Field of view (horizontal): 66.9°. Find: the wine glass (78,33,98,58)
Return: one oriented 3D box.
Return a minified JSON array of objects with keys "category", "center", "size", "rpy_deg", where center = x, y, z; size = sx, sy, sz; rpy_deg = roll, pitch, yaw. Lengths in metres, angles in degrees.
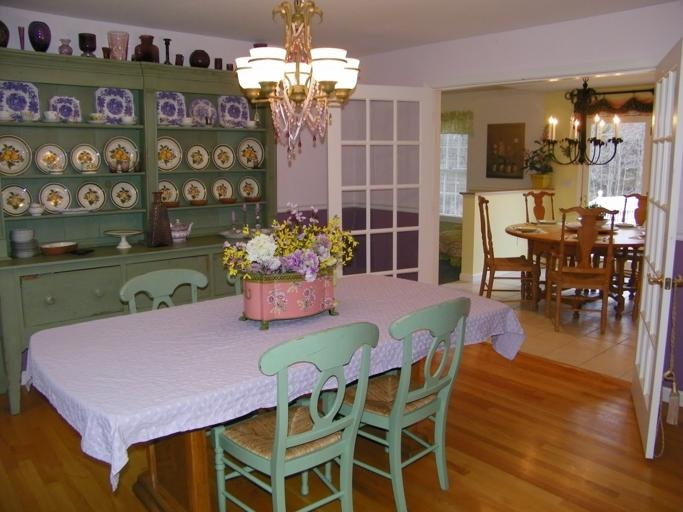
[{"category":"wine glass","center":[-2.015,-1.667,4.103],"size":[0.131,0.224,0.360],"rpy_deg":[-6,10,-25]}]

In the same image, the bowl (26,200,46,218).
[{"category":"bowl","center":[-2.379,-0.377,4.036],"size":[0.106,0.106,0.116],"rpy_deg":[-1,2,0]}]

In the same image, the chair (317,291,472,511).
[{"category":"chair","center":[0.264,0.782,2.714],"size":[0.754,1.305,0.708],"rpy_deg":[-12,20,-42]}]

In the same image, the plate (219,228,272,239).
[{"category":"plate","center":[-0.771,-0.177,4.087],"size":[0.282,0.042,0.203],"rpy_deg":[-3,9,-15]}]

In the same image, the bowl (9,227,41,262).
[{"category":"bowl","center":[-2.352,-0.100,3.866],"size":[0.203,0.234,0.206],"rpy_deg":[1,2,0]}]

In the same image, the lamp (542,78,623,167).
[{"category":"lamp","center":[2.797,-1.626,5.988],"size":[0.801,1.141,0.824],"rpy_deg":[-1,3,-39]}]

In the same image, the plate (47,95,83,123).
[{"category":"plate","center":[-2.224,-1.183,4.132],"size":[0.026,0.208,0.265],"rpy_deg":[-5,2,39]}]

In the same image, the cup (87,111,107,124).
[{"category":"cup","center":[-1.971,-1.129,4.220],"size":[0.098,0.094,0.166],"rpy_deg":[4,11,31]}]

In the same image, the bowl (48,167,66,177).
[{"category":"bowl","center":[-2.243,-0.676,4.075],"size":[0.111,0.039,0.110],"rpy_deg":[9,11,-2]}]

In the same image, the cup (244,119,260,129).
[{"category":"cup","center":[-0.848,-1.239,4.915],"size":[0.121,0.081,0.113],"rpy_deg":[1,6,0]}]

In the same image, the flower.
[{"category":"flower","center":[-0.379,-0.044,2.865],"size":[0.641,0.402,0.607],"rpy_deg":[-7,9,-42]}]

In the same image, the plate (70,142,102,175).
[{"category":"plate","center":[-2.111,-0.768,4.261],"size":[0.246,0.260,0.064],"rpy_deg":[-3,-10,-44]}]

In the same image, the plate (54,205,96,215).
[{"category":"plate","center":[-2.168,-0.364,4.208],"size":[0.308,0.061,0.177],"rpy_deg":[-6,10,-27]}]

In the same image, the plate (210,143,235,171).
[{"category":"plate","center":[-1.122,-0.944,4.906],"size":[0.213,0.227,0.049],"rpy_deg":[-7,9,-42]}]

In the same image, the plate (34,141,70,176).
[{"category":"plate","center":[-2.269,-0.774,4.105],"size":[0.240,0.241,0.221],"rpy_deg":[4,11,31]}]

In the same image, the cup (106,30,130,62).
[{"category":"cup","center":[-1.804,-1.686,4.189],"size":[0.145,0.256,0.353],"rpy_deg":[-5,10,-23]}]

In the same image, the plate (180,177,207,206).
[{"category":"plate","center":[-1.376,-0.598,4.816],"size":[0.229,0.246,0.054],"rpy_deg":[-1,-1,-39]}]

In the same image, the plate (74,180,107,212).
[{"category":"plate","center":[-2.108,-0.504,4.310],"size":[0.252,0.269,0.058],"rpy_deg":[6,1,-39]}]

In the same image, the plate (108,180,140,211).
[{"category":"plate","center":[-1.889,-0.528,4.450],"size":[0.241,0.259,0.062],"rpy_deg":[-3,8,-37]}]

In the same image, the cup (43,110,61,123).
[{"category":"cup","center":[-2.259,-1.081,4.037],"size":[0.105,0.084,0.107],"rpy_deg":[-3,8,0]}]

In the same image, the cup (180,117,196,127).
[{"category":"cup","center":[-1.356,-1.184,4.609],"size":[0.094,0.074,0.094],"rpy_deg":[1,3,0]}]

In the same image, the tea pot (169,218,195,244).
[{"category":"tea pot","center":[-1.428,-0.206,4.614],"size":[0.287,0.212,0.189],"rpy_deg":[-12,20,-39]}]

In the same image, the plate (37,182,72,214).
[{"category":"plate","center":[-2.329,-0.471,4.163],"size":[0.056,0.253,0.237],"rpy_deg":[9,8,44]}]

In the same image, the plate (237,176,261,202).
[{"category":"plate","center":[-0.900,-0.651,5.072],"size":[0.235,0.251,0.055],"rpy_deg":[6,-11,-36]}]

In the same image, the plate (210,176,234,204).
[{"category":"plate","center":[-1.140,-0.629,4.951],"size":[0.223,0.241,0.051],"rpy_deg":[4,-3,-45]}]

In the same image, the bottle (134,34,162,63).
[{"category":"bottle","center":[-1.599,-1.697,4.318],"size":[0.236,0.289,0.245],"rpy_deg":[0,14,-8]}]
